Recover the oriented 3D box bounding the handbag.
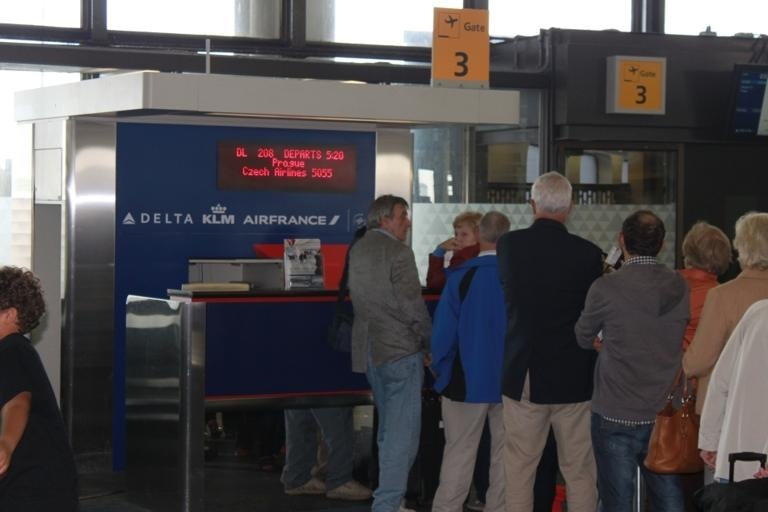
[{"bbox_3d":[1.657,1.012,5.647,0.392,0.505,0.216,3,-8,-7],"label":"handbag"}]

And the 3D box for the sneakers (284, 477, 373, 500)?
[{"bbox_3d":[-0.388,1.593,6.965,0.620,0.221,0.210,0,-3,-7],"label":"sneakers"}]
